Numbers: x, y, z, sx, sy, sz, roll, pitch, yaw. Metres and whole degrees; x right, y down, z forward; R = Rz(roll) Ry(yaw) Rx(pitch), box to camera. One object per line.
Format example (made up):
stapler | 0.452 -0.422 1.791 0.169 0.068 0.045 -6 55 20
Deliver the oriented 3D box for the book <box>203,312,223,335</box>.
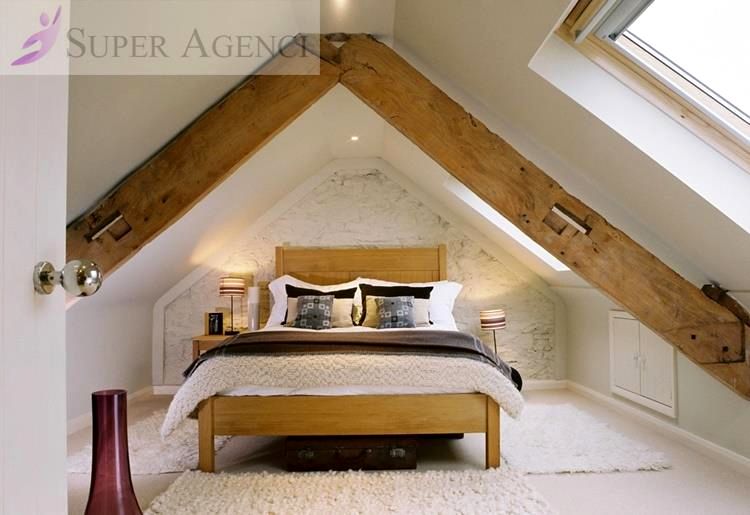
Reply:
book | -1.483 0.619 5.495 0.194 0.267 0.183 1 -4 0

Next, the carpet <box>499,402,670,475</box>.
carpet | 1.331 1.256 4.205 1.044 0.037 1.186 0 3 -2

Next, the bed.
bed | -0.406 0.604 4.693 2.329 1.307 2.327 0 4 -2
